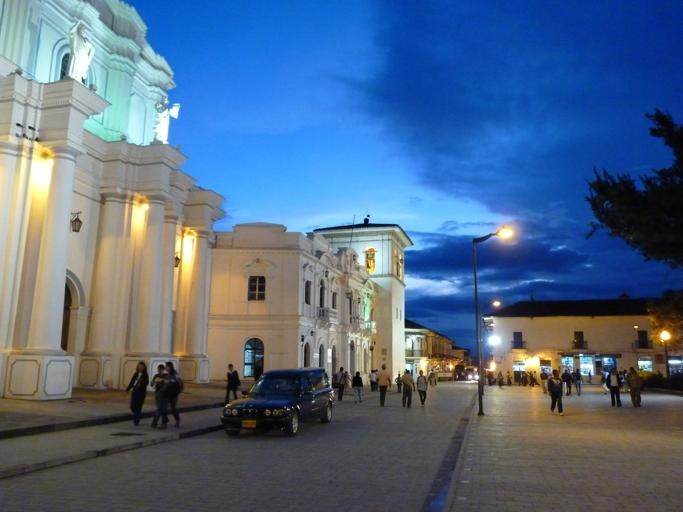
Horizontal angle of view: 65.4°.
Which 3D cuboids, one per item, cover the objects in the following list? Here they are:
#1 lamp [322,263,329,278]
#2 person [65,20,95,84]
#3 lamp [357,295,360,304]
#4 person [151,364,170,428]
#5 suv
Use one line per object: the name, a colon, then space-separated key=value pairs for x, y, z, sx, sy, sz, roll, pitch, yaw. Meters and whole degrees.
lamp: x=-1.178 y=1.150 z=42.502 sx=0.344 sy=0.917 sz=0.682 roll=3 pitch=6 yaw=-29
person: x=-10.680 y=-8.370 z=21.480 sx=0.609 sy=3.003 sz=1.321 roll=2 pitch=-10 yaw=-2
lamp: x=1.747 y=4.241 z=51.589 sx=0.372 sy=0.484 sz=0.533 roll=-1 pitch=-29 yaw=2
person: x=-5.401 y=4.126 z=15.822 sx=0.481 sy=1.765 sz=1.389 roll=5 pitch=-10 yaw=-18
suv: x=-1.901 y=4.491 z=16.672 sx=1.962 sy=1.896 sz=4.016 roll=-2 pitch=-11 yaw=18
